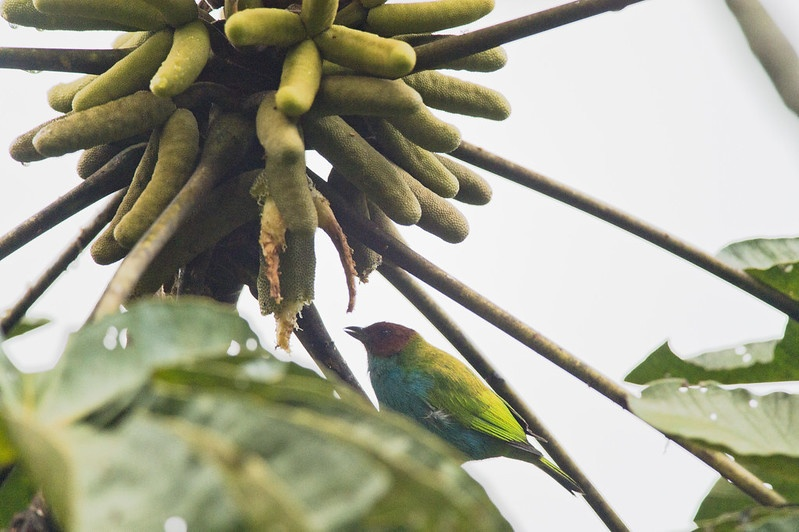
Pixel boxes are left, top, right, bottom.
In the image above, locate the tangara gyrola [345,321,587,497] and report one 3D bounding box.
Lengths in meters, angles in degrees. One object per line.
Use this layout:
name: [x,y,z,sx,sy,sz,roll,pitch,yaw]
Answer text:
tangara gyrola: [0.185,0.412,3.033,0.696,0.441,0.246,9,-24,-5]
